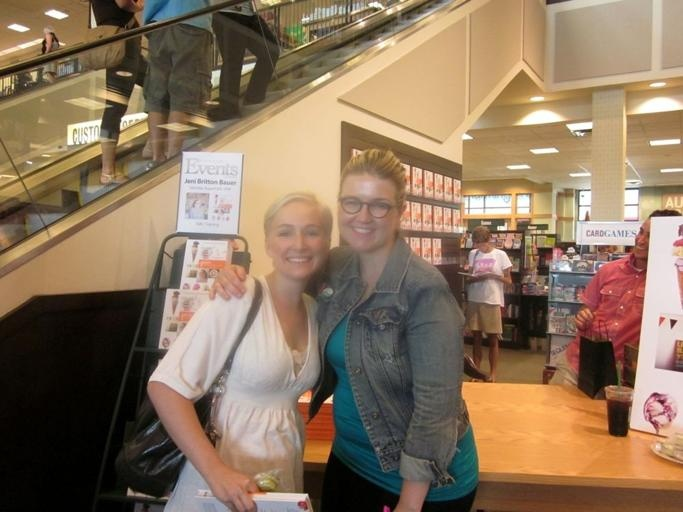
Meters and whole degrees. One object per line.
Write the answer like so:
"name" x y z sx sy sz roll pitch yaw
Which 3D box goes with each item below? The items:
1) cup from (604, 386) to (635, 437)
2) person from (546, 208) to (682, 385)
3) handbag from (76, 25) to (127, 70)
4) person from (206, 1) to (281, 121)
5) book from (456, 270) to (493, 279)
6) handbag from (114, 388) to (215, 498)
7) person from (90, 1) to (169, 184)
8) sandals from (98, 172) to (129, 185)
"cup" 1.447 0.811 2.697 0.148 0.226 0.154 3 -5 0
"person" 1.902 0.366 3.758 0.551 1.217 0.725 4 2 21
"handbag" -1.611 -1.383 3.501 0.315 0.330 0.163 2 -9 14
"person" -0.787 -1.638 4.360 0.312 1.175 0.844 3 2 9
"book" 1.901 0.263 7.311 0.574 0.066 0.796 4 -4 4
"handbag" -0.738 0.660 2.171 0.247 0.583 0.393 11 14 -13
"person" -1.580 -1.223 3.723 0.382 1.500 0.868 2 2 -27
"sandals" -1.489 -0.507 3.371 0.163 0.067 0.062 -7 10 -41
